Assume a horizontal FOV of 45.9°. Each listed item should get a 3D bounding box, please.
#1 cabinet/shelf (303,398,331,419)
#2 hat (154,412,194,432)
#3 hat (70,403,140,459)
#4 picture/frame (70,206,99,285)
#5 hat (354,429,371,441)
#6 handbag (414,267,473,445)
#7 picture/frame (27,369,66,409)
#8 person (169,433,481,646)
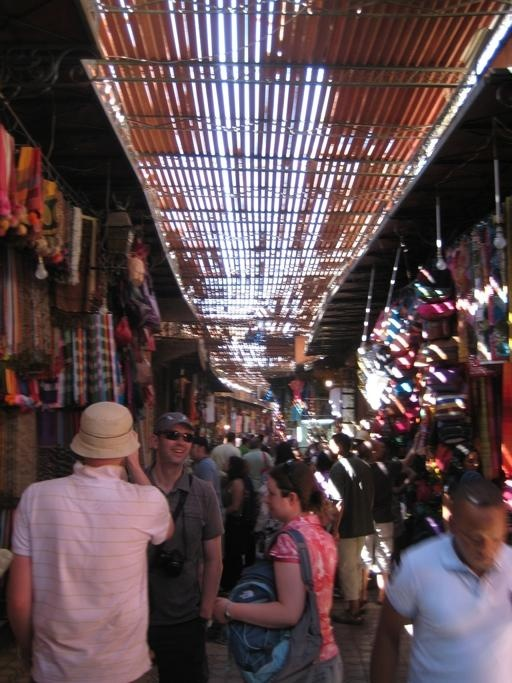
[{"bbox_3d":[2.544,2.809,25.579,1.002,0.870,2.570,2,-8,2],"label":"cabinet/shelf"},{"bbox_3d":[-0.395,0.350,2.688,0.145,0.090,0.224,10,-7,-29],"label":"hat"},{"bbox_3d":[-0.498,0.328,2.000,0.208,0.104,0.208,4,17,-9],"label":"hat"},{"bbox_3d":[-1.358,-0.721,4.600,0.130,0.458,0.484,8,6,-8],"label":"picture/frame"},{"bbox_3d":[1.746,1.559,9.978,0.300,0.258,0.373,1,-14,4],"label":"hat"},{"bbox_3d":[1.729,0.145,5.849,0.473,1.708,1.085,3,-9,0],"label":"handbag"},{"bbox_3d":[-1.551,0.382,4.589,0.089,0.245,0.271,2,-6,32],"label":"picture/frame"},{"bbox_3d":[0.203,0.696,2.077,0.565,0.855,0.628,-6,-32,16],"label":"person"}]
